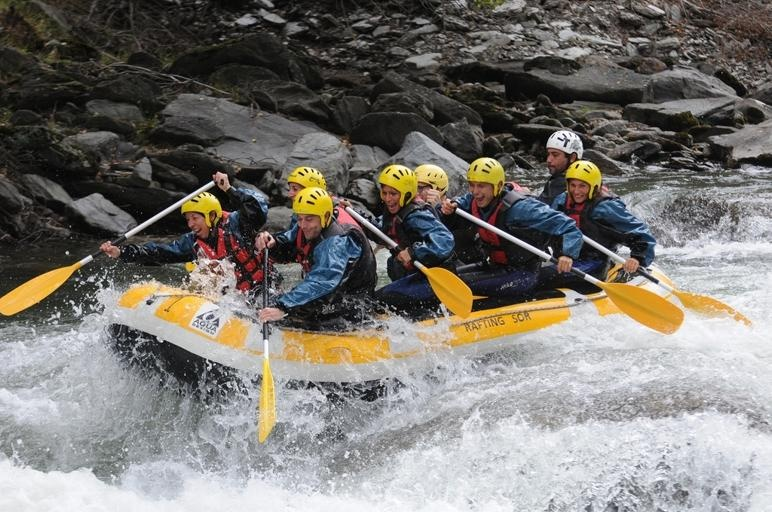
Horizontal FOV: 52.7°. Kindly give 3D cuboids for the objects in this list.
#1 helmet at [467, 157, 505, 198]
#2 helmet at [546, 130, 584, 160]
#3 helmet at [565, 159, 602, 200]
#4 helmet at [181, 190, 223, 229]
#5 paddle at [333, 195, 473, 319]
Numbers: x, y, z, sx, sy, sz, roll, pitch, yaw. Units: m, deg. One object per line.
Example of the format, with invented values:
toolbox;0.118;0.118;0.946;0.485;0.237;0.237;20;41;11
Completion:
helmet;1.284;-1.084;10.428;0.493;0.511;0.497;8;42;29
helmet;2.629;-1.621;11.420;0.613;0.373;0.403;-3;18;-30
helmet;2.815;-1.077;10.788;0.495;0.492;0.565;5;-1;36
helmet;-2.367;-0.623;10.106;0.600;0.380;0.431;-12;6;-35
paddle;0.237;0.040;9.832;2.280;0.377;0.115;30;9;14
